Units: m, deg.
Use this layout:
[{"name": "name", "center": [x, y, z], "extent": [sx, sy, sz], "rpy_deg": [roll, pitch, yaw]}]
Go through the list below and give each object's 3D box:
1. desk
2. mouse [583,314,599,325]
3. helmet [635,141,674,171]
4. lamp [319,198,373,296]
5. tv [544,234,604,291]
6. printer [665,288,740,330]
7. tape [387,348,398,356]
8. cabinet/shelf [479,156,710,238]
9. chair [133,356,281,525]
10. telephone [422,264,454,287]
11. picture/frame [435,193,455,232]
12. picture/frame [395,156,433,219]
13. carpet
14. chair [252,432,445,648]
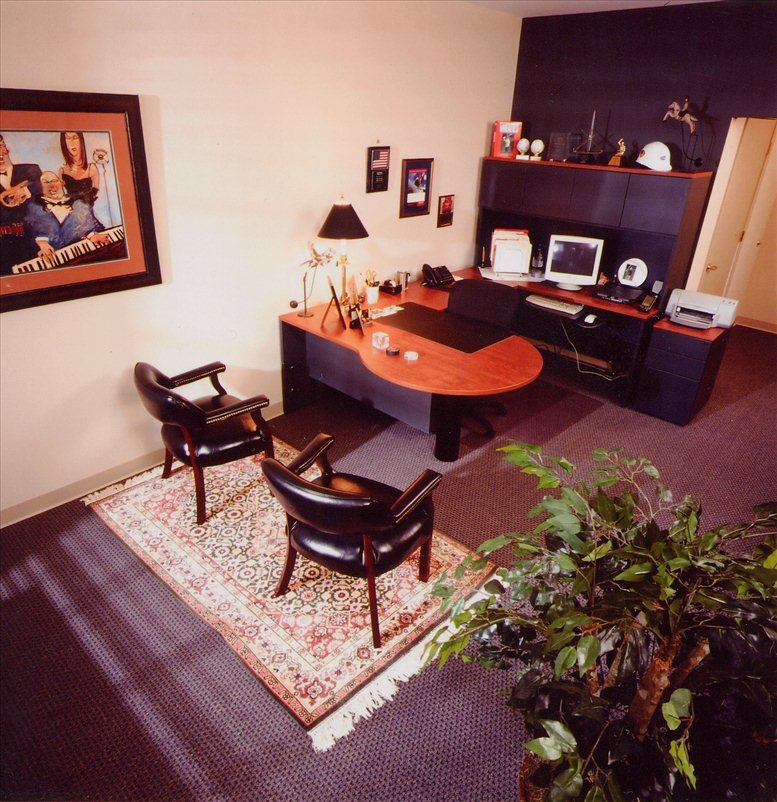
[{"name": "desk", "center": [0.120, -0.037, 4.500], "extent": [1.411, 0.742, 1.819], "rpy_deg": [5, 17, -29]}, {"name": "mouse", "center": [1.603, -0.625, 4.997], "extent": [0.106, 0.091, 0.024], "rpy_deg": [24, -12, 36]}, {"name": "helmet", "center": [1.996, -1.796, 4.744], "extent": [0.248, 0.193, 0.443], "rpy_deg": [13, 26, 17]}, {"name": "lamp", "center": [-0.243, -1.112, 4.409], "extent": [0.391, 0.654, 0.388], "rpy_deg": [30, 47, 30]}, {"name": "tv", "center": [1.557, -1.123, 5.291], "extent": [0.451, 0.391, 0.180], "rpy_deg": [15, 32, 28]}, {"name": "printer", "center": [2.311, -0.668, 4.722], "extent": [0.478, 0.216, 0.336], "rpy_deg": [21, 51, 35]}, {"name": "tape", "center": [0.039, -0.299, 3.991], "extent": [0.054, 0.011, 0.051], "rpy_deg": [9, 28, 13]}, {"name": "cabinet/shelf", "center": [1.600, -1.584, 5.309], "extent": [1.683, 0.550, 0.497], "rpy_deg": [16, 6, 26]}, {"name": "chair", "center": [-1.043, 0.177, 3.742], "extent": [0.780, 0.759, 0.779], "rpy_deg": [17, 26, 22]}, {"name": "telephone", "center": [0.423, -1.046, 5.471], "extent": [0.248, 0.093, 0.239], "rpy_deg": [-17, 44, -34]}, {"name": "picture/frame", "center": [0.494, -1.649, 5.599], "extent": [0.030, 0.268, 0.283], "rpy_deg": [23, 44, 26]}, {"name": "picture/frame", "center": [0.201, -1.725, 5.170], "extent": [0.488, 0.445, 0.038], "rpy_deg": [-22, 38, -39]}, {"name": "carpet", "center": [-0.655, 0.742, 3.465], "extent": [1.992, 0.015, 1.135], "rpy_deg": [29, 45, 35]}, {"name": "chair", "center": [-0.200, 0.703, 3.070], "extent": [0.628, 0.712, 0.673], "rpy_deg": [19, 38, 26]}]
